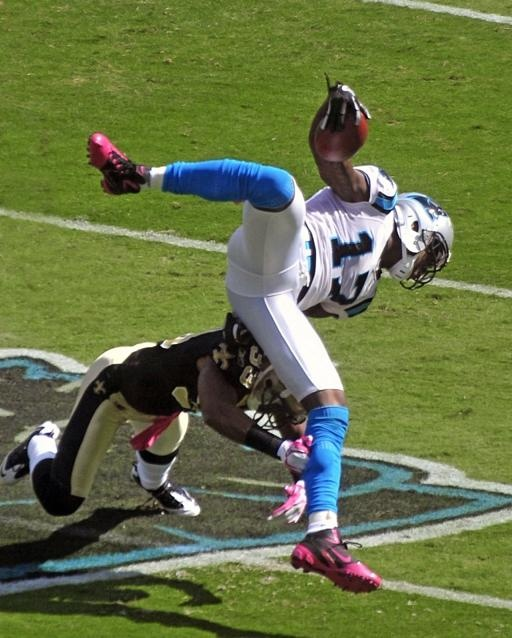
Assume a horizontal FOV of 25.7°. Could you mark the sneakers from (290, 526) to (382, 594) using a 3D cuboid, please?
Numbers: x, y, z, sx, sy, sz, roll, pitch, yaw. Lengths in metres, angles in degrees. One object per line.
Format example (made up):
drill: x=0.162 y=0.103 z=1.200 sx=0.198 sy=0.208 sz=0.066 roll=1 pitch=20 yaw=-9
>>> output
sneakers: x=0.434 y=1.207 z=5.690 sx=0.453 sy=0.231 sz=0.245 roll=25 pitch=55 yaw=3

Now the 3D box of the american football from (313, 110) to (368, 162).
american football: x=0.473 y=-0.981 z=6.072 sx=0.309 sy=0.185 sz=0.236 roll=-17 pitch=36 yaw=-17

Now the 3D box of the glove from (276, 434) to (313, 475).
glove: x=0.201 y=0.693 z=5.806 sx=0.111 sy=0.144 sz=0.217 roll=-36 pitch=37 yaw=-24
